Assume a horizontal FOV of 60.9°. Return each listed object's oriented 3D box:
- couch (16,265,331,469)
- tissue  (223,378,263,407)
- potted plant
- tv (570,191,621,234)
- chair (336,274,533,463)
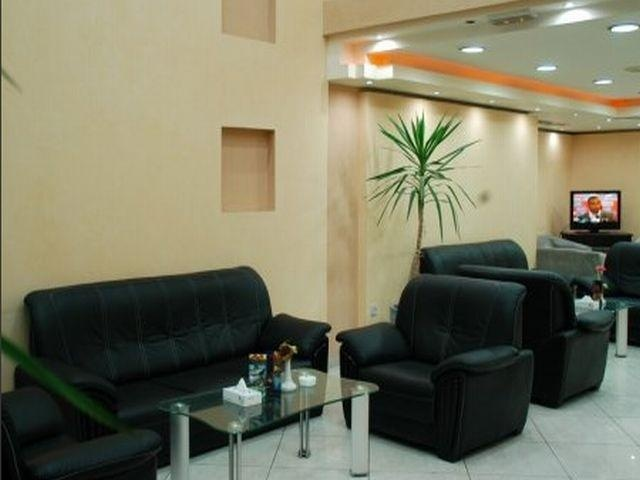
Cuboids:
[{"bbox_3d":[-0.946,0.869,3.911,0.899,1.072,2.119,4,3,38],"label":"couch"},{"bbox_3d":[-0.439,0.855,3.060,0.132,0.133,0.187,3,-3,-40],"label":"tissue "},{"bbox_3d":[0.923,-0.427,6.697,1.586,2.770,1.929,2,4,30],"label":"potted plant"},{"bbox_3d":[4.836,-0.497,9.541,0.682,0.705,0.253,0,1,10],"label":"tv"},{"bbox_3d":[0.802,0.834,4.126,1.080,1.470,1.426,2,-2,-39],"label":"chair"}]
